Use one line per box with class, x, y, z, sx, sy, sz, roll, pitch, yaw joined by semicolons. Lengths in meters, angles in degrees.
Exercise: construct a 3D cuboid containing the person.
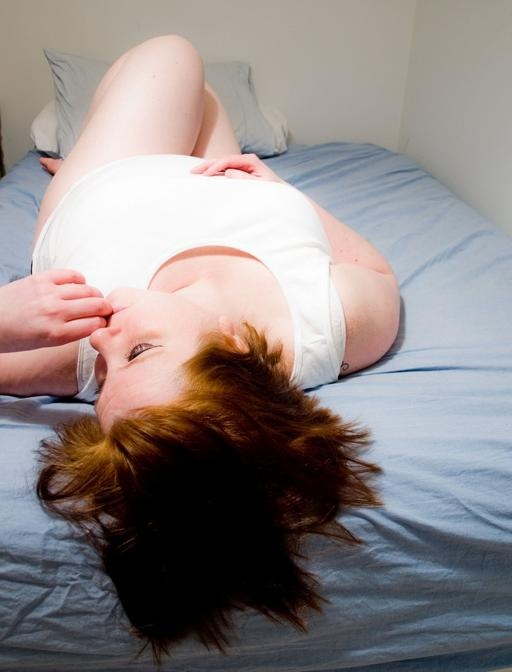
person;-0.101;-0.005;1.274;0.767;0.402;0.912;-4;49;-1
